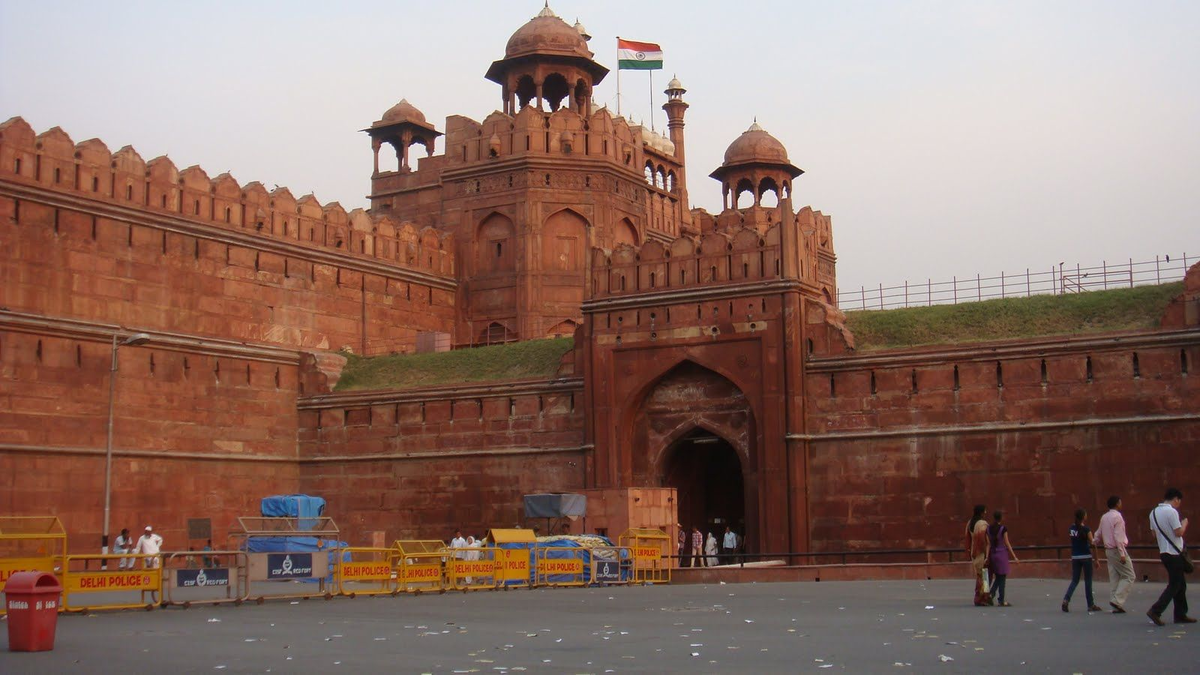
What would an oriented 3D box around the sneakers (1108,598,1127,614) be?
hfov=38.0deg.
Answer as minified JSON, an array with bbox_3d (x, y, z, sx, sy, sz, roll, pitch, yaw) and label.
[{"bbox_3d":[12.074,6.228,40.805,0.205,0.205,0.494,4,-34,20],"label":"sneakers"}]

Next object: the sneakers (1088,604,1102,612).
[{"bbox_3d":[11.636,6.313,40.982,0.406,0.139,0.125,-2,2,15],"label":"sneakers"}]

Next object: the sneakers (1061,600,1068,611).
[{"bbox_3d":[10.974,6.280,41.158,0.113,0.275,0.197,-3,26,8],"label":"sneakers"}]
